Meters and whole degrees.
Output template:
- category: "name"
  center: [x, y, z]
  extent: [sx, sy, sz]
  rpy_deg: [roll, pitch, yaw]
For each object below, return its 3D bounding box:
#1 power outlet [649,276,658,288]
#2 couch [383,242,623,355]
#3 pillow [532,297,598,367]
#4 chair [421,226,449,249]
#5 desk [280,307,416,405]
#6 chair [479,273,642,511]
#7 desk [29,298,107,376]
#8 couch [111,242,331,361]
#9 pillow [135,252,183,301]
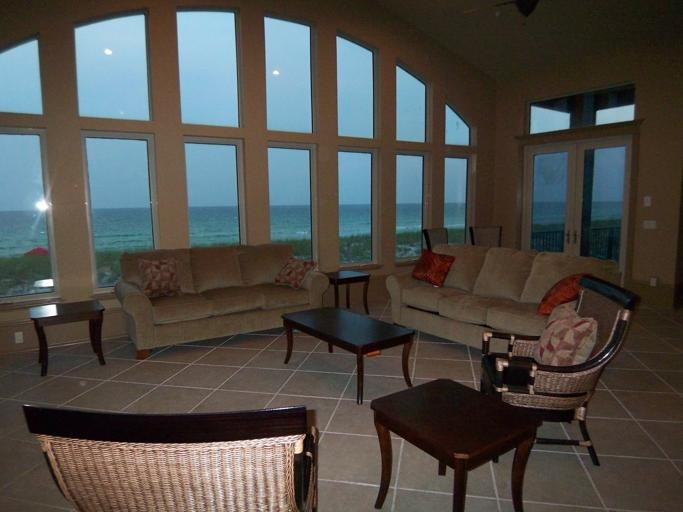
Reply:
- category: "power outlet"
  center: [4.538, 0.354, 7.323]
  extent: [0.107, 0.146, 0.147]
  rpy_deg: [5, -6, -39]
- category: "couch"
  center: [1.722, 0.501, 5.759]
  extent: [1.038, 1.097, 2.611]
  rpy_deg: [-7, 8, -32]
- category: "pillow"
  center: [1.730, 0.662, 3.968]
  extent: [0.323, 0.497, 0.585]
  rpy_deg: [-2, 17, -3]
- category: "chair"
  center: [1.503, -0.292, 8.004]
  extent: [0.344, 0.489, 0.387]
  rpy_deg: [-1, 1, -19]
- category: "desk"
  center: [0.091, 0.933, 5.099]
  extent: [0.722, 0.620, 1.300]
  rpy_deg: [-9, 10, -40]
- category: "chair"
  center: [1.651, 0.851, 4.086]
  extent: [1.163, 1.302, 1.157]
  rpy_deg: [7, 9, 33]
- category: "desk"
  center: [-2.942, 0.853, 5.474]
  extent: [0.709, 0.654, 0.456]
  rpy_deg: [-5, 15, -30]
- category: "couch"
  center: [-1.471, 0.430, 6.362]
  extent: [2.537, 1.061, 0.975]
  rpy_deg: [-4, 10, -33]
- category: "pillow"
  center: [-2.147, 0.243, 5.972]
  extent: [0.410, 0.440, 0.216]
  rpy_deg: [-6, 9, -26]
